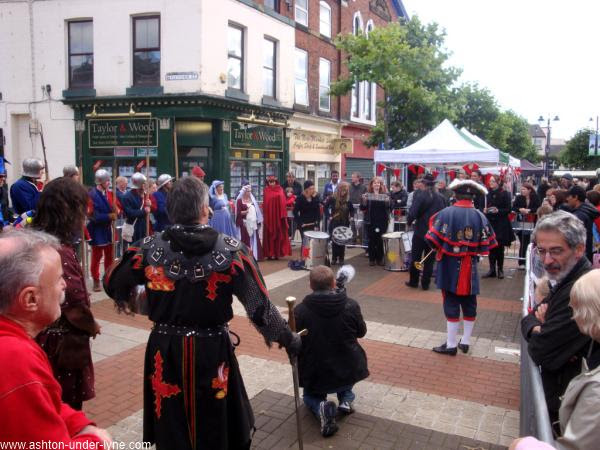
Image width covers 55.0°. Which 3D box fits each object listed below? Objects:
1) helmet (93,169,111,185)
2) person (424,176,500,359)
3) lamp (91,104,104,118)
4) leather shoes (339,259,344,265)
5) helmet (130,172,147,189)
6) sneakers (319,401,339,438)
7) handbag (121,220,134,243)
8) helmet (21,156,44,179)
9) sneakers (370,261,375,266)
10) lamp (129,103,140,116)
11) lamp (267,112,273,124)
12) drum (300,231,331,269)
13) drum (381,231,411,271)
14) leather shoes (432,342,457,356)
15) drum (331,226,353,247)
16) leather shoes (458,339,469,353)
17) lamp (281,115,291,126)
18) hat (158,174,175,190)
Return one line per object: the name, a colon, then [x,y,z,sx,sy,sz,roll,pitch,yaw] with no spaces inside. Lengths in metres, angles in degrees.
helmet: [-3.395,-0.818,9.791,0.205,0.279,0.276,2,38,4]
person: [2.055,0.519,7.368,0.834,2.129,0.825,4,10,19]
lamp: [-5.606,-3.085,15.776,0.248,0.363,0.353,-7,12,-42]
leather shoes: [0.905,0.799,12.502,0.089,0.106,0.270,-2,-6,3]
helmet: [-2.907,-0.803,10.462,0.248,0.298,0.295,10,11,28]
sneakers: [0.272,1.798,5.385,0.125,0.358,0.161,2,-3,-5]
handbag: [-3.072,0.122,10.363,0.272,0.316,0.316,7,-9,7]
helmet: [-3.762,-0.804,8.078,0.256,0.303,0.308,8,11,23]
sneakers: [1.571,0.827,12.473,0.075,0.076,0.179,-3,-12,6]
lamp: [-4.505,-3.088,15.484,0.301,0.345,0.299,-7,9,-42]
lamp: [-0.953,-3.375,18.353,0.141,0.366,0.423,3,10,16]
drum: [0.307,0.471,12.026,0.692,0.762,0.683,9,12,30]
drum: [2.041,0.539,12.055,0.707,0.791,0.696,-1,7,10]
leather shoes: [1.823,1.565,7.267,0.301,0.141,0.128,3,3,29]
drum: [0.891,0.234,12.133,0.380,0.147,0.394,0,49,0]
leather shoes: [2.079,1.535,7.252,0.075,0.092,0.210,-2,6,8]
lamp: [-0.446,-3.465,19.330,0.306,0.317,0.285,7,0,16]
hat: [-2.644,-0.801,11.271,0.324,0.159,0.324,-27,9,-13]
